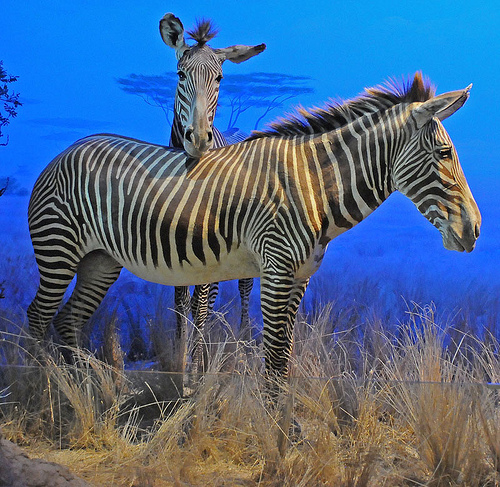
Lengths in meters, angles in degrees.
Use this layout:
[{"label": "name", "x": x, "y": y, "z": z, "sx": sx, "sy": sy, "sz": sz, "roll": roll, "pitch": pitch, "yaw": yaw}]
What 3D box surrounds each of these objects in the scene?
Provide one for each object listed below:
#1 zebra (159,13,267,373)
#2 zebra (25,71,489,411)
[{"label": "zebra", "x": -0.242, "y": -0.523, "z": 4.658, "sx": 0.387, "sy": 1.454, "sz": 1.571, "roll": 7, "pitch": 10, "yaw": 4}, {"label": "zebra", "x": -0.074, "y": -0.125, "z": 4.169, "sx": 2.207, "sy": 2.146, "sz": 0.782, "roll": 3, "pitch": 37, "yaw": -1}]
